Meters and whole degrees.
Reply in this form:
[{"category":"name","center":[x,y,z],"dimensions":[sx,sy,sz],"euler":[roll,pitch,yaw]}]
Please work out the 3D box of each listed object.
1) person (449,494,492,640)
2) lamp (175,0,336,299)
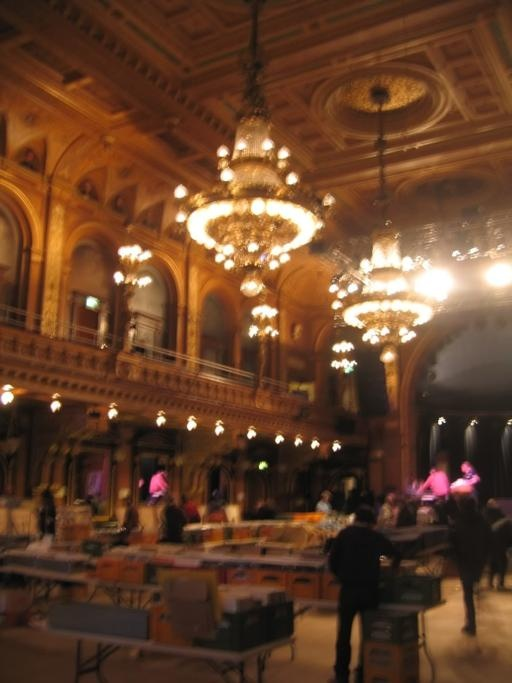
[{"category":"person","center":[2.386,2.453,6.935],"dimensions":[0.411,1.470,0.486],"euler":[-4,-13,17]},{"category":"lamp","center":[-0.027,-2.536,7.838],"dimensions":[1.747,4.261,2.192],"euler":[0,-12,0]}]
